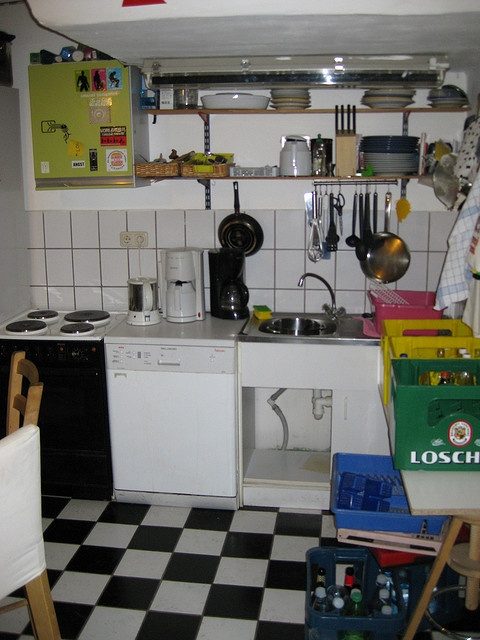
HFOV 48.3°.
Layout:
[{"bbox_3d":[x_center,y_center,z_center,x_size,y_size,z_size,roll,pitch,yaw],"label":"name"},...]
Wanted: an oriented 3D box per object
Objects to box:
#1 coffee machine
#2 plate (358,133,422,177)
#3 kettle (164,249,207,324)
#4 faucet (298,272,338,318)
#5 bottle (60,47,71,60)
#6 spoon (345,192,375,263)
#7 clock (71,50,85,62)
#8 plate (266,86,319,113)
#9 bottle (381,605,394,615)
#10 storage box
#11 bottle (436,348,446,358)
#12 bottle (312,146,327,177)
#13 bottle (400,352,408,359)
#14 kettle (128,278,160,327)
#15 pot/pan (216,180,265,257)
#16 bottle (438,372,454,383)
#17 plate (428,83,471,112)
[{"bbox_3d":[-0.063,-0.175,2.644,0.202,0.350,0.203,0,10,3],"label":"coffee machine"},{"bbox_3d":[0.660,-0.720,2.340,0.198,0.119,0.199,2,19,8],"label":"plate"},{"bbox_3d":[-0.285,-0.178,2.634,0.210,0.343,0.247,1,13,1],"label":"kettle"},{"bbox_3d":[0.406,-0.128,2.657,0.215,0.223,0.290,1,10,8],"label":"faucet"},{"bbox_3d":[-0.843,-1.284,2.581,0.062,0.068,0.033,0,10,5],"label":"bottle"},{"bbox_3d":[0.585,-0.454,2.618,0.130,0.333,0.234,1,10,11],"label":"spoon"},{"bbox_3d":[-0.769,-1.251,2.536,0.057,0.057,0.014,18,7,4],"label":"clock"},{"bbox_3d":[0.221,-0.994,2.423,0.177,0.105,0.134,0,10,6],"label":"plate"},{"bbox_3d":[0.409,0.806,1.485,0.023,0.024,0.031,2,9,2],"label":"bottle"},{"bbox_3d":[0.723,-0.037,2.384,0.291,0.146,0.567,2,10,15],"label":"storage box"},{"bbox_3d":[0.663,0.106,1.761,0.028,0.029,0.019,-1,10,-2],"label":"bottle"},{"bbox_3d":[0.365,-0.730,2.464,0.067,0.149,0.150,1,10,8],"label":"bottle"},{"bbox_3d":[0.519,0.113,1.696,0.027,0.024,0.014,0,2,5],"label":"bottle"},{"bbox_3d":[-0.464,-0.095,2.587,0.140,0.224,0.226,-4,10,-22],"label":"kettle"},{"bbox_3d":[0.008,-0.504,2.707,0.231,0.373,0.182,-3,10,-10],"label":"pot/pan"},{"bbox_3d":[0.661,0.186,1.713,0.046,0.030,0.022,1,10,9],"label":"bottle"},{"bbox_3d":[0.923,-0.985,2.361,0.146,0.075,0.145,-10,25,-19],"label":"plate"}]
